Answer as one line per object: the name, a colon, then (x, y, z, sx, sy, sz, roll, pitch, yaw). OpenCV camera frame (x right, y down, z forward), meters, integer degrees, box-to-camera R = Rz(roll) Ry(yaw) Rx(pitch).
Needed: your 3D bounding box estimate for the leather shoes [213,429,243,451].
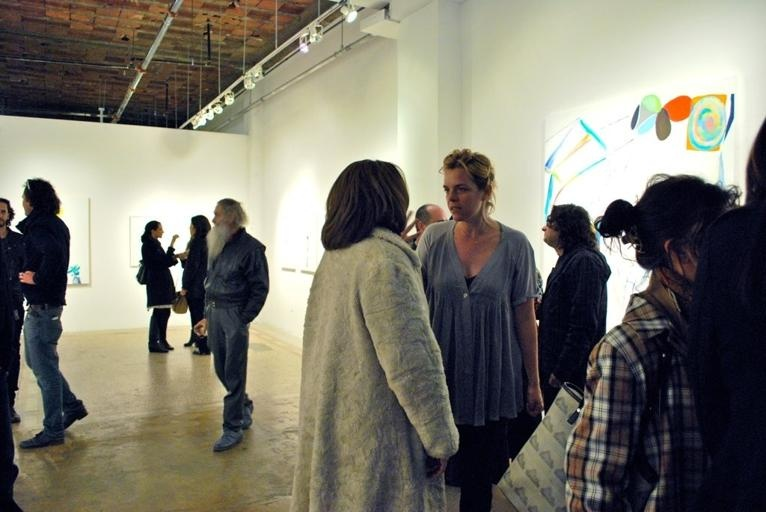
leather shoes: (-1.377, 1.617, 5.076, 0.105, 0.117, 0.274, -2, -2, 19)

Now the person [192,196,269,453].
person: (-1.291, 0.604, 5.035, 0.519, 2.163, 0.372, 0, 3, -13)

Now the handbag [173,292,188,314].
handbag: (-2.954, 0.684, 8.330, 0.186, 0.311, 0.428, 0, 3, -22)

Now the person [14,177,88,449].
person: (-2.932, 0.482, 5.071, 0.498, 2.320, 0.486, -1, 3, -34)

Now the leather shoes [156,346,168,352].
leather shoes: (-3.387, 1.407, 8.802, 0.142, 0.095, 0.151, 1, 3, 3)

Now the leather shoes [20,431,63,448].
leather shoes: (-2.969, 1.604, 5.060, 0.365, 0.153, 0.137, 4, -4, -21)
